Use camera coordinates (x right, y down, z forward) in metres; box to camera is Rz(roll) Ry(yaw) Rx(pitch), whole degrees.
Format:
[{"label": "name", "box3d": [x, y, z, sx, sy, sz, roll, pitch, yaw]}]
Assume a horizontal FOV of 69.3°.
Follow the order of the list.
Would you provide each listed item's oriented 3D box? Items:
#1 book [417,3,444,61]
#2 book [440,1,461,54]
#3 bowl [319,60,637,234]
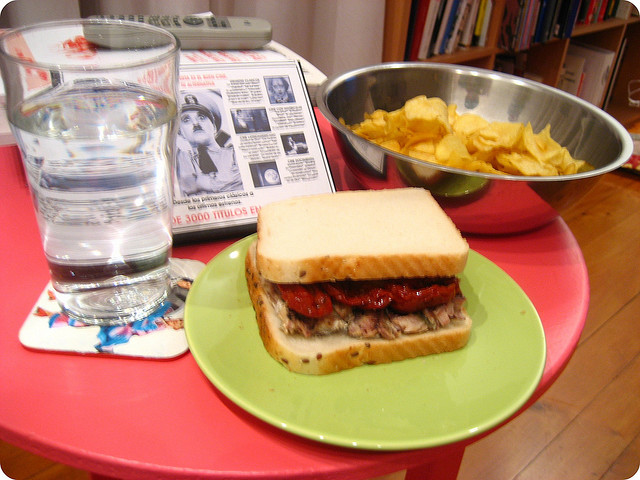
[{"label": "book", "box3d": [0.477, -0.907, 1.994, 0.032, 0.176, 0.169, 14, 60, 4]}, {"label": "book", "box3d": [0.584, -0.957, 2.062, 0.032, 0.183, 0.166, 21, 79, 2]}, {"label": "bowl", "box3d": [0.254, -0.164, 0.916, 0.464, 0.169, 0.468, 10, 36, -7]}]
